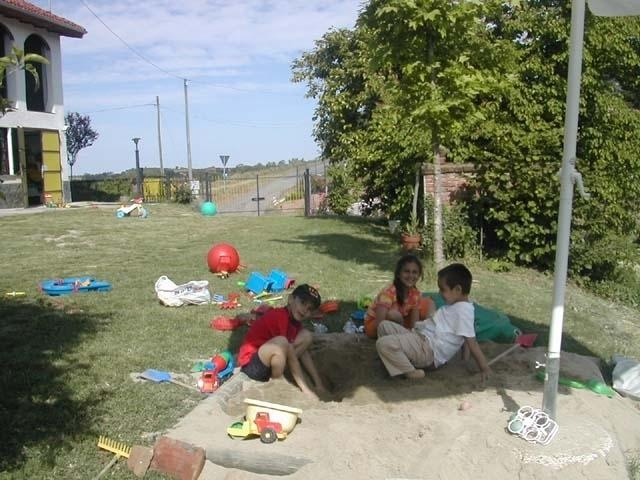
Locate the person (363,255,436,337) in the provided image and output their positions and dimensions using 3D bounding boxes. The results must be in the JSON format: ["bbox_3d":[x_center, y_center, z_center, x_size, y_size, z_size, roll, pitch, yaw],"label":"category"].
[{"bbox_3d":[1.014,0.690,6.619,0.920,1.210,0.761,-1,9,-34],"label":"person"}]

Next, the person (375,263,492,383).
[{"bbox_3d":[1.273,0.881,5.994,1.206,1.271,0.789,-1,3,2],"label":"person"}]

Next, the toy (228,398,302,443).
[{"bbox_3d":[-0.501,1.557,4.692,0.531,0.289,0.361,4,-8,6],"label":"toy"}]

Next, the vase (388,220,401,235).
[{"bbox_3d":[2.272,-0.404,15.989,0.341,0.300,0.362,2,-4,-7],"label":"vase"}]

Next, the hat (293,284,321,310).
[{"bbox_3d":[-0.144,0.601,5.838,0.224,0.263,0.304,38,4,-17],"label":"hat"}]

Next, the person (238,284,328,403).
[{"bbox_3d":[-0.391,1.078,5.798,1.037,1.165,0.524,1,9,19],"label":"person"}]

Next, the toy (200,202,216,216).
[{"bbox_3d":[-4.139,-1.150,19.553,0.529,0.446,1.097,-4,9,-14],"label":"toy"}]
